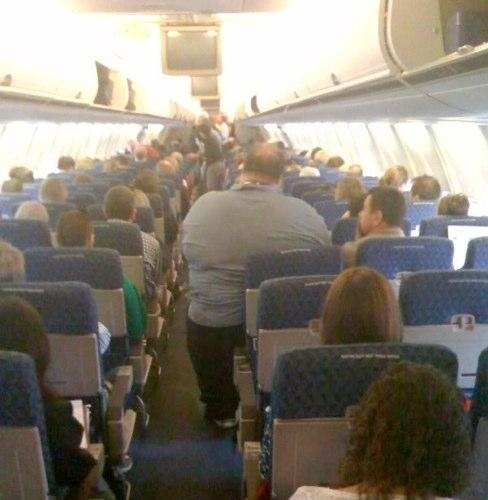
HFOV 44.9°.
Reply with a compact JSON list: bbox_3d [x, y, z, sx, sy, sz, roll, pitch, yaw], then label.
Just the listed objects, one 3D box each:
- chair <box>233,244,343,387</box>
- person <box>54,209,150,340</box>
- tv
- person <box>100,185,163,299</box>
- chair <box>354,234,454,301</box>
[{"bbox_3d":[0.252,0.298,2.605,0.259,0.431,0.229,-9,-25,21],"label":"chair"},{"bbox_3d":[-0.855,0.073,3.562,0.536,0.973,0.742,-4,31,-12],"label":"person"},{"bbox_3d":[-1.300,-4.951,14.728,1.493,1.095,1.293,-2,12,-9],"label":"tv"},{"bbox_3d":[-0.784,0.103,4.268,0.399,1.152,0.231,1,22,16],"label":"person"},{"bbox_3d":[0.831,0.057,3.035,0.260,0.483,0.352,-1,7,0],"label":"chair"}]
